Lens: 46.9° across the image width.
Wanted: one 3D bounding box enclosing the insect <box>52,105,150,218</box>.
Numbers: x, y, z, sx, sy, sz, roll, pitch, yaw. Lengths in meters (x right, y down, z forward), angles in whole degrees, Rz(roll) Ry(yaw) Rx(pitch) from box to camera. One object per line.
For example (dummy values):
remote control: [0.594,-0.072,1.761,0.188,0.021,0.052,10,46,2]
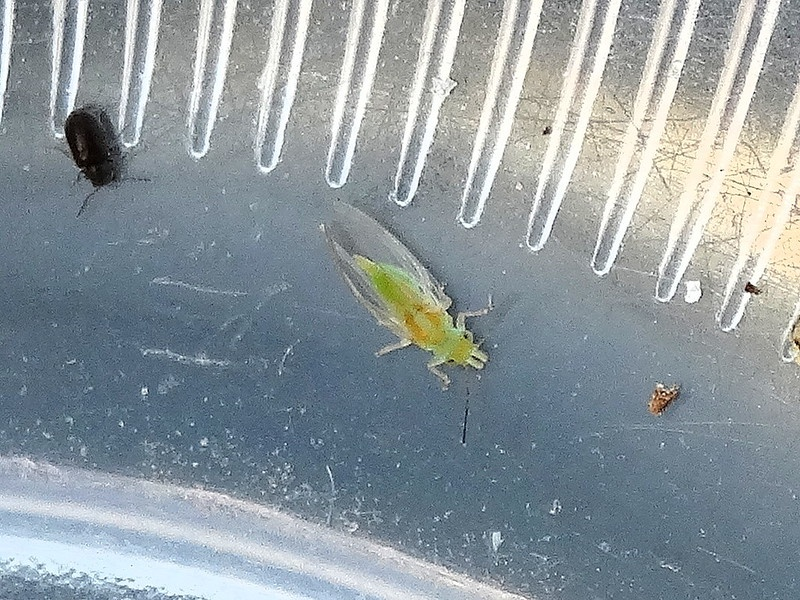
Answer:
insect: [-1.006,-0.464,3.086,0.299,0.354,0.108,-18,6,-2]
